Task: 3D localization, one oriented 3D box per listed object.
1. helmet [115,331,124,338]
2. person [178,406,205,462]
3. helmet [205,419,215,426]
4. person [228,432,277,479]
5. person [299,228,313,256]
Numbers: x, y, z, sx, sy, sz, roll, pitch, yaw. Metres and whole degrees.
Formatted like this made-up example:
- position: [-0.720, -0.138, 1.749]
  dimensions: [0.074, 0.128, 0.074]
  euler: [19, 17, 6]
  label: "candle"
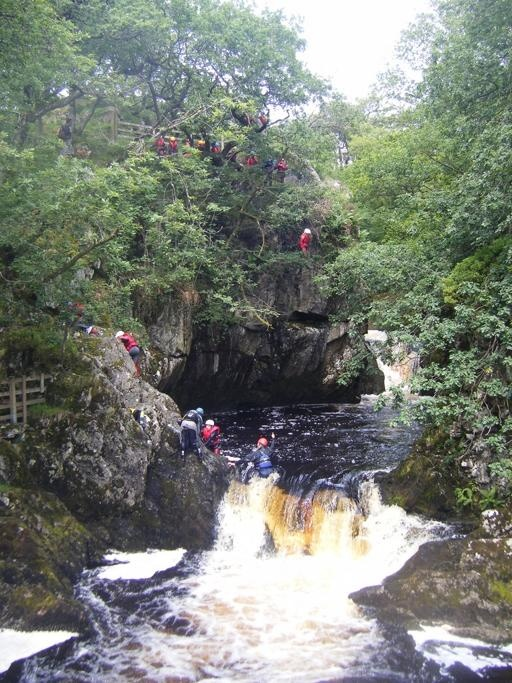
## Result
- position: [-3.270, -0.164, 14.863]
  dimensions: [0.120, 0.150, 0.175]
  euler: [5, -8, -37]
  label: "helmet"
- position: [-1.516, 2.142, 14.542]
  dimensions: [0.488, 0.990, 0.883]
  euler: [6, -3, 19]
  label: "person"
- position: [-1.165, 2.046, 15.760]
  dimensions: [0.260, 0.188, 0.367]
  euler: [10, -9, 12]
  label: "helmet"
- position: [-0.152, 2.953, 15.785]
  dimensions: [1.218, 0.892, 1.306]
  euler: [7, -3, -2]
  label: "person"
- position: [1.725, -3.501, 21.935]
  dimensions: [0.353, 0.345, 0.980]
  euler: [-8, -6, 7]
  label: "person"
